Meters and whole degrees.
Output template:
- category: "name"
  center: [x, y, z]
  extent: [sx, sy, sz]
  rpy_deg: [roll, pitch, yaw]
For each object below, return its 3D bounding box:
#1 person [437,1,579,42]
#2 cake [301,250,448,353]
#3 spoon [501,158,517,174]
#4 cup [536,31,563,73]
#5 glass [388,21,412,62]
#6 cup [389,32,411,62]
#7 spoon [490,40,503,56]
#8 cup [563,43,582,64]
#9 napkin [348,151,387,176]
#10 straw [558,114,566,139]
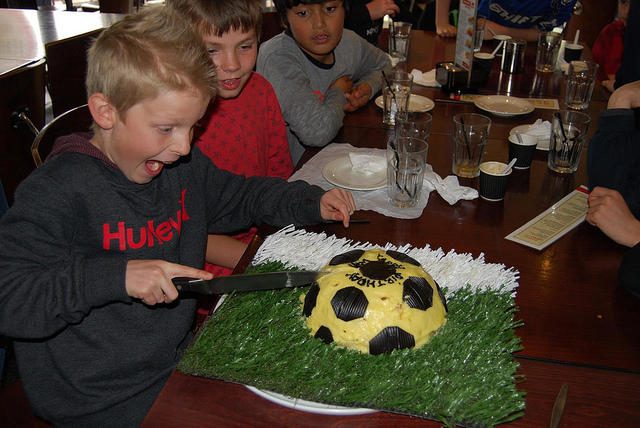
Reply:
- category: "person"
  center: [1.272, -1.453, 3.370]
  extent: [0.916, 0.309, 1.268]
  rpy_deg: [18, 28, 29]
- category: "cake"
  center: [0.143, 0.218, 1.171]
  extent: [0.372, 0.160, 0.258]
  rpy_deg: [8, 25, 11]
- category: "spoon"
  center: [0.702, -0.176, 1.676]
  extent: [0.119, 0.019, 0.015]
  rpy_deg: [-43, 21, -27]
- category: "cup"
  center: [1.381, -0.978, 2.735]
  extent: [0.129, 0.224, 0.271]
  rpy_deg: [14, 27, 23]
- category: "glass"
  center: [0.504, -1.109, 2.892]
  extent: [0.155, 0.237, 0.153]
  rpy_deg: [5, 23, 11]
- category: "cup"
  center: [0.496, -1.053, 2.828]
  extent: [0.168, 0.186, 0.167]
  rpy_deg: [-2, 30, 1]
- category: "spoon"
  center: [1.066, -0.992, 2.750]
  extent: [0.052, 0.056, 0.273]
  rpy_deg: [12, 38, 25]
- category: "cup"
  center: [1.568, -0.999, 2.808]
  extent: [0.097, 0.108, 0.208]
  rpy_deg: [15, 27, 24]
- category: "napkin"
  center: [0.186, -0.197, 1.749]
  extent: [0.104, 0.035, 0.104]
  rpy_deg: [5, 27, 10]
- category: "straw"
  center: [0.918, -0.328, 1.716]
  extent: [0.010, 0.115, 0.015]
  rpy_deg: [-18, -14, 28]
